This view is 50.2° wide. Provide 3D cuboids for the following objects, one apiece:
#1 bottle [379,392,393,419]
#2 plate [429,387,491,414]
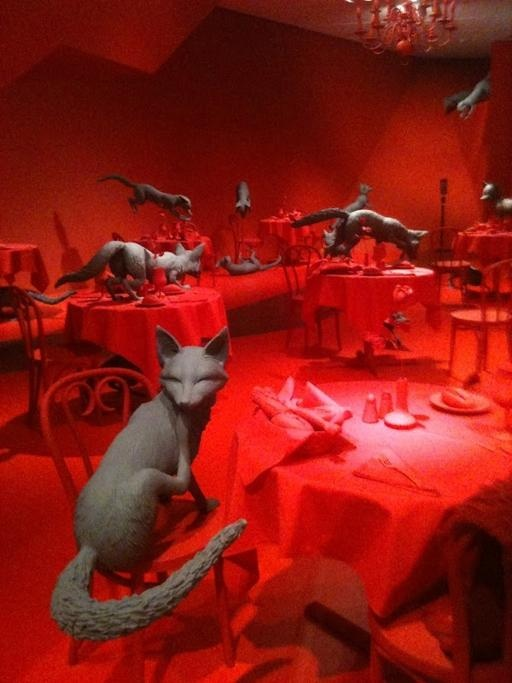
[{"bbox_3d":[0.296,0.144,1.253,0.031,0.060,0.044,-3,12,12],"label":"bottle"},{"bbox_3d":[0.493,0.139,1.328,0.140,0.046,0.140,-1,11,19],"label":"plate"}]
